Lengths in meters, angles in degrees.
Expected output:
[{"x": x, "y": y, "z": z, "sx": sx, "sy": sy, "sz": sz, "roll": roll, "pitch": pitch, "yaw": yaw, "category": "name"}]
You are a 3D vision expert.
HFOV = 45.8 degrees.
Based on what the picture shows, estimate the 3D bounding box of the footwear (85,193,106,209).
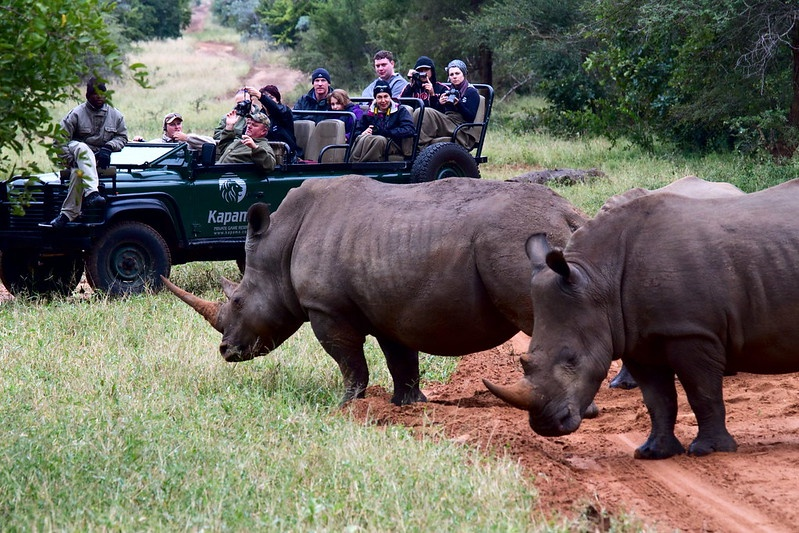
[{"x": -4.236, "y": -0.911, "z": 13.236, "sx": 0.363, "sy": 0.181, "sz": 0.126, "roll": -4, "pitch": 1, "yaw": 32, "category": "footwear"}]

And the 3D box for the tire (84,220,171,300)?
[{"x": -3.930, "y": -0.088, "z": 13.642, "sx": 0.959, "sy": 1.065, "sz": 0.355, "roll": 4, "pitch": 2, "yaw": -18, "category": "tire"}]

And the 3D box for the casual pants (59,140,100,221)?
[{"x": -4.173, "y": -1.056, "z": 12.369, "sx": 0.540, "sy": 1.162, "sz": 0.406, "roll": 2, "pitch": 0, "yaw": 29, "category": "casual pants"}]

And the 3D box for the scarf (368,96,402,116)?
[{"x": -0.239, "y": -2.644, "z": 15.783, "sx": 0.412, "sy": 0.145, "sz": 0.436, "roll": -2, "pitch": 1, "yaw": 7, "category": "scarf"}]

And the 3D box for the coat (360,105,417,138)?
[{"x": -0.296, "y": -2.409, "z": 15.842, "sx": 1.005, "sy": 0.634, "sz": 0.618, "roll": 1, "pitch": 5, "yaw": 3, "category": "coat"}]

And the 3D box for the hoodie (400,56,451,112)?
[{"x": 0.532, "y": -3.477, "z": 17.788, "sx": 0.870, "sy": 0.902, "sz": 1.370, "roll": -5, "pitch": 0, "yaw": -7, "category": "hoodie"}]

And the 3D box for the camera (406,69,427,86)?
[{"x": 0.348, "y": -3.459, "z": 17.369, "sx": 0.186, "sy": 0.281, "sz": 0.420, "roll": -15, "pitch": 13, "yaw": -18, "category": "camera"}]

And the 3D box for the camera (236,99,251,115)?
[{"x": -2.365, "y": -2.381, "z": 14.528, "sx": 0.224, "sy": 0.137, "sz": 0.220, "roll": -32, "pitch": 20, "yaw": 2, "category": "camera"}]

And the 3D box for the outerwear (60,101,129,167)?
[{"x": -4.509, "y": -1.915, "z": 13.962, "sx": 0.977, "sy": 1.090, "sz": 1.023, "roll": 5, "pitch": 12, "yaw": -7, "category": "outerwear"}]

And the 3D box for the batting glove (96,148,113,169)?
[{"x": -4.311, "y": -1.573, "z": 13.866, "sx": 0.254, "sy": 0.376, "sz": 0.122, "roll": 7, "pitch": -1, "yaw": -34, "category": "batting glove"}]

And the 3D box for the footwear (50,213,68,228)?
[{"x": -4.647, "y": -0.624, "z": 13.072, "sx": 0.263, "sy": 0.184, "sz": 0.138, "roll": 8, "pitch": 14, "yaw": 10, "category": "footwear"}]

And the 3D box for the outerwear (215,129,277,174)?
[{"x": -2.246, "y": -1.665, "z": 14.214, "sx": 0.485, "sy": 0.392, "sz": 0.839, "roll": 8, "pitch": 2, "yaw": -39, "category": "outerwear"}]

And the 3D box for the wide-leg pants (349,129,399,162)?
[{"x": -0.477, "y": -1.965, "z": 15.509, "sx": 0.616, "sy": 0.367, "sz": 0.410, "roll": -11, "pitch": 17, "yaw": -37, "category": "wide-leg pants"}]

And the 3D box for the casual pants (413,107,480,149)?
[{"x": 0.817, "y": -2.400, "z": 16.610, "sx": 0.922, "sy": 0.488, "sz": 0.639, "roll": 7, "pitch": -12, "yaw": -28, "category": "casual pants"}]

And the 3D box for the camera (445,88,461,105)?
[{"x": 0.927, "y": -2.977, "z": 16.784, "sx": 0.190, "sy": 0.080, "sz": 0.269, "roll": 2, "pitch": 46, "yaw": -6, "category": "camera"}]
